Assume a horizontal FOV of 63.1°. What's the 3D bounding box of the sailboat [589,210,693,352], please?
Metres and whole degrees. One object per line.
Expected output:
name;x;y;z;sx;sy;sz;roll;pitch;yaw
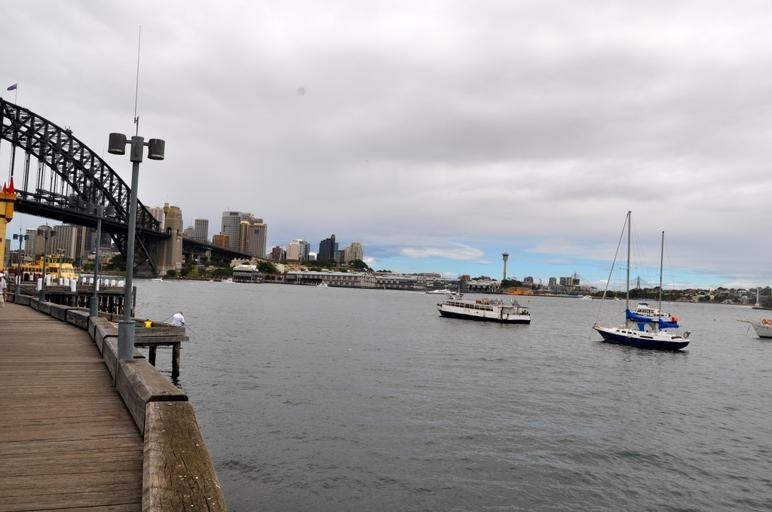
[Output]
sailboat;41.906;9.536;104.038;10.723;25.471;14.082;0;2;7

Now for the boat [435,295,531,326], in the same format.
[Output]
boat;13.783;8.715;91.059;12.822;3.527;5.058;0;-1;36
